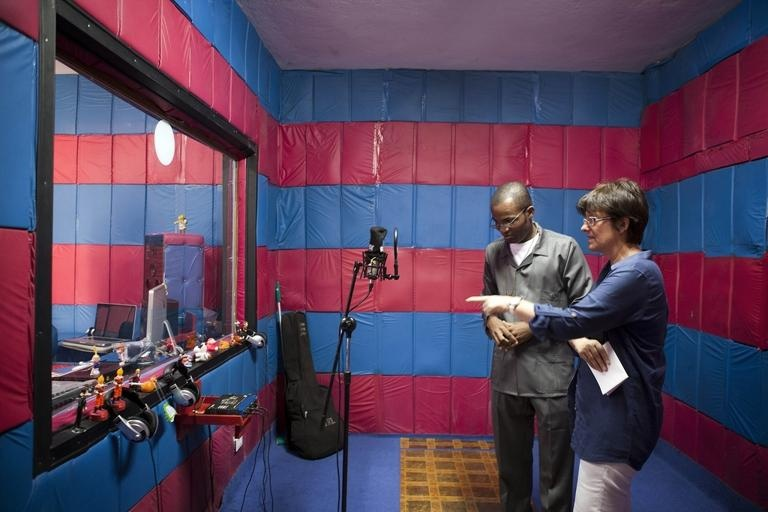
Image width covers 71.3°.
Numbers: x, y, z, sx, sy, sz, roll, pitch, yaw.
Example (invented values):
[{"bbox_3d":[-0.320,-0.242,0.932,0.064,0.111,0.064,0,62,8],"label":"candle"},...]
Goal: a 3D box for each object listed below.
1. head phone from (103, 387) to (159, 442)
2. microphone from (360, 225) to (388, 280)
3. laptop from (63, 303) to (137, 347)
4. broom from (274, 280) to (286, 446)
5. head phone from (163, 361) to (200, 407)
[{"bbox_3d":[-1.556,0.952,3.231,0.157,0.377,0.332,-44,-17,7],"label":"head phone"},{"bbox_3d":[-0.072,-0.027,3.724,0.170,0.383,0.259,-1,-2,-5],"label":"microphone"},{"bbox_3d":[-1.976,0.476,3.865,0.518,0.293,0.351,8,4,39],"label":"laptop"},{"bbox_3d":[-0.932,0.933,4.755,0.095,1.419,0.346,0,-2,-11],"label":"broom"},{"bbox_3d":[-1.358,0.866,3.585,0.132,0.309,0.259,-28,-14,4],"label":"head phone"}]
